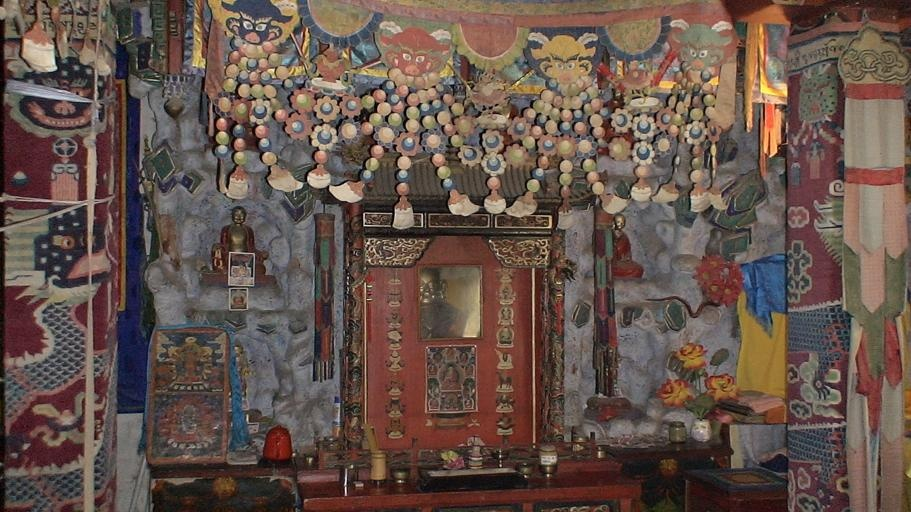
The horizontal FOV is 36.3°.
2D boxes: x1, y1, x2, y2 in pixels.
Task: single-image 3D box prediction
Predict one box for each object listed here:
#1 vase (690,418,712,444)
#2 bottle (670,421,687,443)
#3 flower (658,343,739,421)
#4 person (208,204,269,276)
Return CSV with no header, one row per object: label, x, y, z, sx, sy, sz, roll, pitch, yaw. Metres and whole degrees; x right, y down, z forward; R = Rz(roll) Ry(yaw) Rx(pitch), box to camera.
vase,2.660,1.879,15.078,0.241,0.209,0.229,1,-10,-1
bottle,2.390,1.895,14.913,0.211,0.207,0.203,-1,-3,3
flower,2.701,1.552,15.465,0.951,0.867,0.916,3,7,9
person,-2.303,-0.132,14.784,0.579,0.746,0.302,1,-9,-7
